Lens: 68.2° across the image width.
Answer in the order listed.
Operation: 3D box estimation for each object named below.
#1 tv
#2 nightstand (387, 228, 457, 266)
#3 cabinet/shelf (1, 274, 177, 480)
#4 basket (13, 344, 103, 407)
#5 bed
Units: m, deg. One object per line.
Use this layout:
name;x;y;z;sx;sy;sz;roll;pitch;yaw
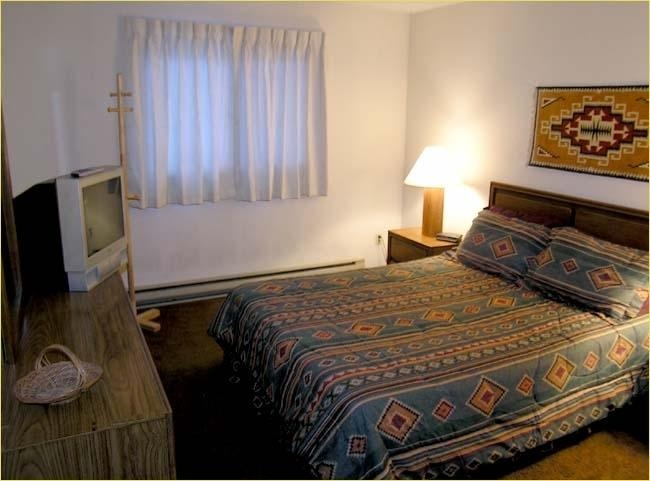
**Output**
tv;-1.678;-0.056;3.209;0.488;0.769;0.845;2;17;3
nightstand;0.933;-0.073;4.647;0.329;0.535;0.585;-6;15;-23
cabinet/shelf;-1.199;0.665;2.367;0.333;0.385;1.101;-1;25;-9
basket;-1.182;0.615;2.159;0.327;0.095;0.245;-11;43;-27
bed;0.803;0.626;2.971;2.154;0.756;1.739;-10;23;-22
